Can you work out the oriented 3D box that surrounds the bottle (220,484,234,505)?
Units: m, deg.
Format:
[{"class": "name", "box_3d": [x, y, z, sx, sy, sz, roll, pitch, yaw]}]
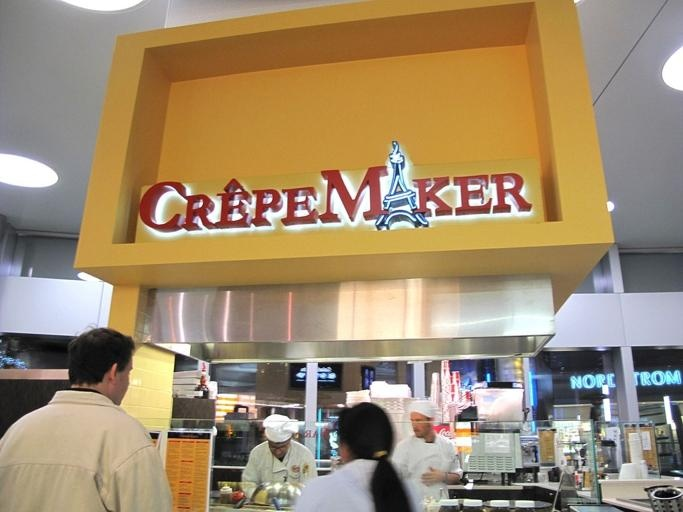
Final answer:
[{"class": "bottle", "box_3d": [-0.707, 1.462, 3.310, 0.094, 0.135, 0.094, 1, -18, 0]}]

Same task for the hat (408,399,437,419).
[{"class": "hat", "box_3d": [0.515, 0.975, 3.493, 0.103, 0.102, 0.132, 5, 15, 29]}]
